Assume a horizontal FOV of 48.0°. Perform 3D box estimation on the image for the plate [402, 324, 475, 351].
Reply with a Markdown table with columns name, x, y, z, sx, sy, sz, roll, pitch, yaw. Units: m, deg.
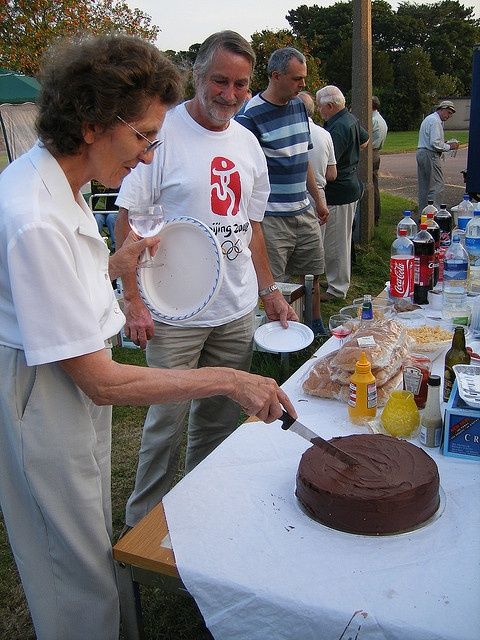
| name | x | y | z | sx | sy | sz | roll | pitch | yaw |
| --- | --- | --- | --- | --- | --- | --- | --- | --- | --- |
| plate | 0.812 | 0.078 | 2.301 | 0.170 | 0.038 | 0.172 | 5 | 18 | 21 |

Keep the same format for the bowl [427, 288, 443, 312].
| name | x | y | z | sx | sy | sz | roll | pitch | yaw |
| --- | --- | --- | --- | --- | --- | --- | --- | --- | --- |
| bowl | 1.056 | -0.101 | 2.933 | 0.076 | 0.073 | 0.104 | 2 | 11 | 21 |

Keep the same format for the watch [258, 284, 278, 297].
| name | x | y | z | sx | sy | sz | roll | pitch | yaw |
| --- | --- | --- | --- | --- | --- | --- | --- | --- | --- |
| watch | 0.141 | -0.149 | 2.798 | 0.069 | 0.021 | 0.073 | -28 | -2 | 5 |

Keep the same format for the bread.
| name | x | y | z | sx | sy | sz | roll | pitch | yaw |
| --- | --- | --- | --- | --- | --- | --- | --- | --- | --- |
| bread | 0.472 | 0.125 | 2.028 | 0.239 | 0.130 | 0.416 | -1 | 19 | 31 |

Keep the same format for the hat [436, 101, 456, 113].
| name | x | y | z | sx | sy | sz | roll | pitch | yaw |
| --- | --- | --- | --- | --- | --- | --- | --- | --- | --- |
| hat | 3.572 | -3.714 | 9.442 | 0.351 | 0.183 | 0.264 | 16 | 34 | 27 |

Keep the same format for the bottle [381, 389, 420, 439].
| name | x | y | z | sx | sy | sz | roll | pitch | yaw |
| --- | --- | --- | --- | --- | --- | --- | --- | --- | --- |
| bottle | 0.514 | 0.307 | 1.787 | 0.128 | 0.137 | 0.141 | 2 | 3 | 39 |

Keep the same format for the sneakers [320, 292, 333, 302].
| name | x | y | z | sx | sy | sz | roll | pitch | yaw |
| --- | --- | --- | --- | --- | --- | --- | --- | --- | --- |
| sneakers | 1.011 | -0.266 | 6.339 | 0.126 | 0.137 | 0.356 | -2 | 2 | 12 |

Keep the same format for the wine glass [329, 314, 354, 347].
| name | x | y | z | sx | sy | sz | roll | pitch | yaw |
| --- | --- | --- | --- | --- | --- | --- | --- | --- | --- |
| wine glass | 0.463 | 0.049 | 2.465 | 0.113 | 0.239 | 0.116 | -3 | 21 | 1 |
